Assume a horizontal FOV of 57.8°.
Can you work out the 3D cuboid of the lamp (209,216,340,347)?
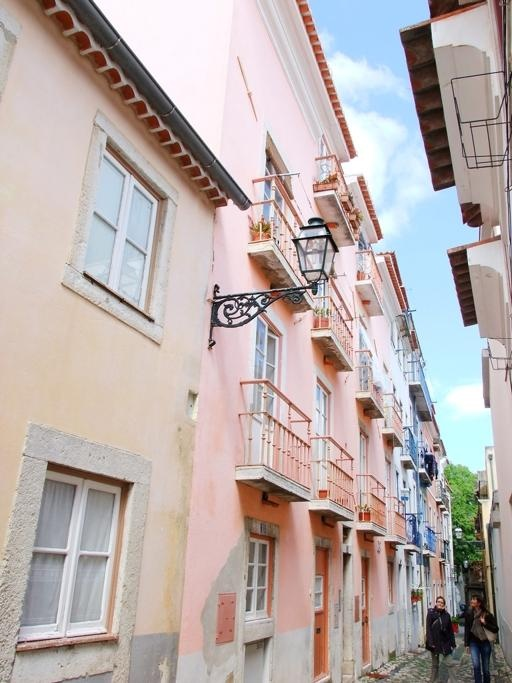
[{"bbox_3d":[0.177,-0.625,4.826,1.228,1.681,0.437,-4,-37,12],"label":"lamp"}]

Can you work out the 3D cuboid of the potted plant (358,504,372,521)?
[{"bbox_3d":[2.741,4.320,11.701,0.243,0.308,0.276,-8,-28,18],"label":"potted plant"}]

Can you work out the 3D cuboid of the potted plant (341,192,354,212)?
[{"bbox_3d":[2.159,-3.155,10.905,0.217,0.582,0.466,-5,-6,15],"label":"potted plant"}]

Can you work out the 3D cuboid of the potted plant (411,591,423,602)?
[{"bbox_3d":[6.658,10.526,19.219,0.266,0.500,1.681,-10,-31,23],"label":"potted plant"}]
